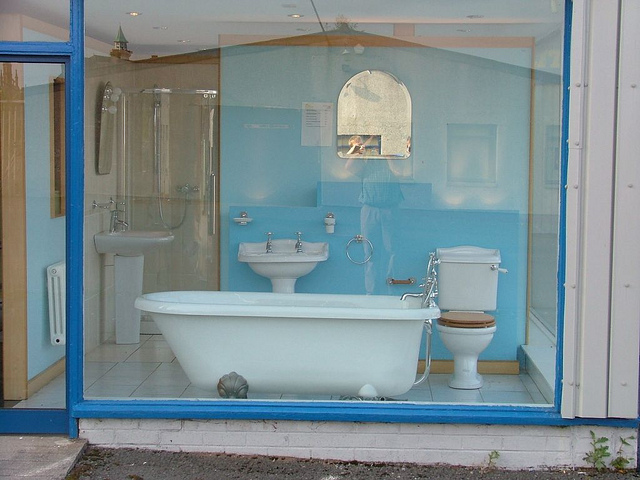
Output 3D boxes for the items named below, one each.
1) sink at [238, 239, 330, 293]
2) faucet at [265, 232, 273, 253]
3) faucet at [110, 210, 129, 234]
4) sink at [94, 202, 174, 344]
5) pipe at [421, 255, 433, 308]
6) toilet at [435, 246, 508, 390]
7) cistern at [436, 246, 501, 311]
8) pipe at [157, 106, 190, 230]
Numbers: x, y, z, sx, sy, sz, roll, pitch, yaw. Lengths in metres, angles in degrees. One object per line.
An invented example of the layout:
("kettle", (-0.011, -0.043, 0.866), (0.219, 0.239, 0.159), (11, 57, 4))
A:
("sink", (-0.263, 0.205, 4.647), (0.644, 0.372, 0.351), (0, 6, -6))
("faucet", (-0.363, 0.018, 4.599), (0.053, 0.140, 0.028), (0, 9, 1))
("faucet", (-1.434, -0.134, 4.598), (0.072, 0.154, 0.148), (3, 9, 25))
("sink", (-1.322, 0.228, 4.602), (0.313, 0.963, 0.448), (5, 11, 34))
("pipe", (0.756, 0.293, 4.572), (0.038, 0.364, 0.065), (14, -1, -30))
("toilet", (1.039, 0.519, 4.492), (0.468, 0.912, 0.290), (1, 9, 11))
("cistern", (1.081, 0.279, 4.683), (0.500, 0.448, 0.294), (1, 4, 13))
("pipe", (-1.060, -0.528, 4.665), (0.234, 0.920, 0.039), (0, 1, 8))
